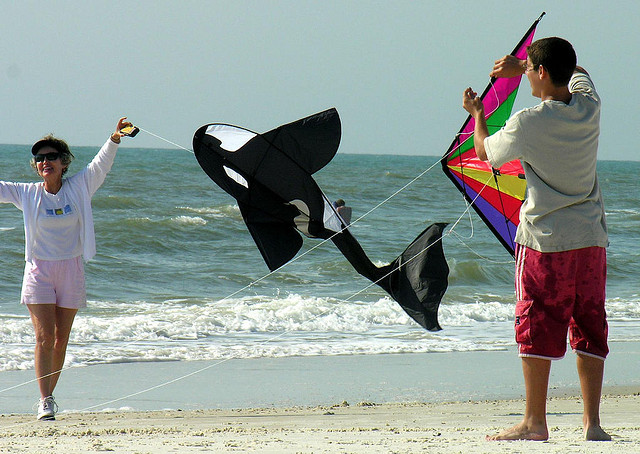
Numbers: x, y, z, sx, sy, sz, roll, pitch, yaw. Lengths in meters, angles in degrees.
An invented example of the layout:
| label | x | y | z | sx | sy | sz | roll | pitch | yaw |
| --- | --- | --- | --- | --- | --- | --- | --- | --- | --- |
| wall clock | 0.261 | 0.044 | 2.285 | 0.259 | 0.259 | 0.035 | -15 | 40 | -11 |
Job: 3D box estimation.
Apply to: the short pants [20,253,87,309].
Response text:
| label | x | y | z | sx | sy | sz | roll | pitch | yaw |
| --- | --- | --- | --- | --- | --- | --- | --- | --- | --- |
| short pants | -3.016 | 0.613 | 15.202 | 0.786 | 0.637 | 0.395 | -3 | -10 | 20 |

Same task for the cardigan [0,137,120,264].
| label | x | y | z | sx | sy | sz | roll | pitch | yaw |
| --- | --- | --- | --- | --- | --- | --- | --- | --- | --- |
| cardigan | -3.045 | -0.311 | 15.145 | 1.306 | 1.469 | 0.537 | 2 | 10 | -6 |

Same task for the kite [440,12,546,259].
| label | x | y | z | sx | sy | sz | roll | pitch | yaw |
| --- | --- | --- | --- | --- | --- | --- | --- | --- | --- |
| kite | 2.080 | -1.109 | 15.899 | 1.017 | 3.004 | 0.930 | 4 | 10 | 7 |
